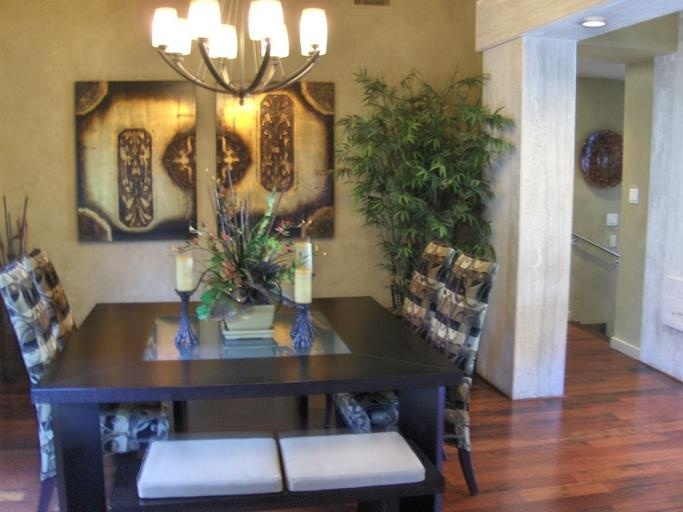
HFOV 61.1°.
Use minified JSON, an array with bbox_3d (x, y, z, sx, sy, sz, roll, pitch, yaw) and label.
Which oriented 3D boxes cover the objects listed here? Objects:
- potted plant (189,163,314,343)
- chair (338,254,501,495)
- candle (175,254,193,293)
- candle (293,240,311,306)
[{"bbox_3d":[-0.513,0.059,3.133,0.470,0.661,0.482,-4,5,22],"label":"potted plant"},{"bbox_3d":[0.340,0.592,3.454,0.775,1.286,0.936,2,10,-13],"label":"chair"},{"bbox_3d":[-0.815,0.093,2.990,0.086,0.179,0.091,-1,14,-8],"label":"candle"},{"bbox_3d":[-0.201,0.080,3.063,0.099,0.334,0.234,0,14,-3],"label":"candle"}]
